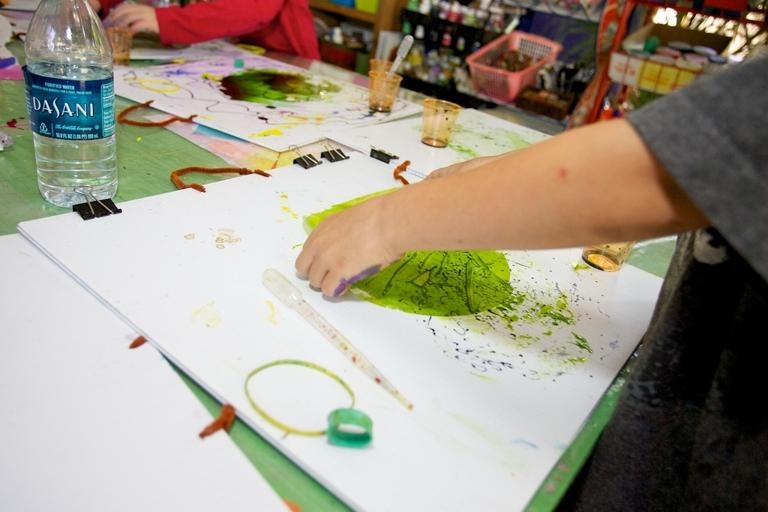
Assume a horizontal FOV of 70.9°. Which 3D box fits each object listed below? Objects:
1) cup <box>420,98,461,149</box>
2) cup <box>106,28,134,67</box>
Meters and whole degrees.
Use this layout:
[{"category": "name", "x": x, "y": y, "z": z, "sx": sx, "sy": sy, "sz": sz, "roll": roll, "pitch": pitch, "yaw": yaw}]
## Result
[{"category": "cup", "x": 0.126, "y": -0.337, "z": 1.419, "sx": 0.115, "sy": 0.112, "sz": 0.113, "roll": 4, "pitch": -2, "yaw": 0}, {"category": "cup", "x": -0.747, "y": -0.600, "z": 1.569, "sx": 0.089, "sy": 0.091, "sz": 0.086, "roll": 3, "pitch": 12, "yaw": -1}]
